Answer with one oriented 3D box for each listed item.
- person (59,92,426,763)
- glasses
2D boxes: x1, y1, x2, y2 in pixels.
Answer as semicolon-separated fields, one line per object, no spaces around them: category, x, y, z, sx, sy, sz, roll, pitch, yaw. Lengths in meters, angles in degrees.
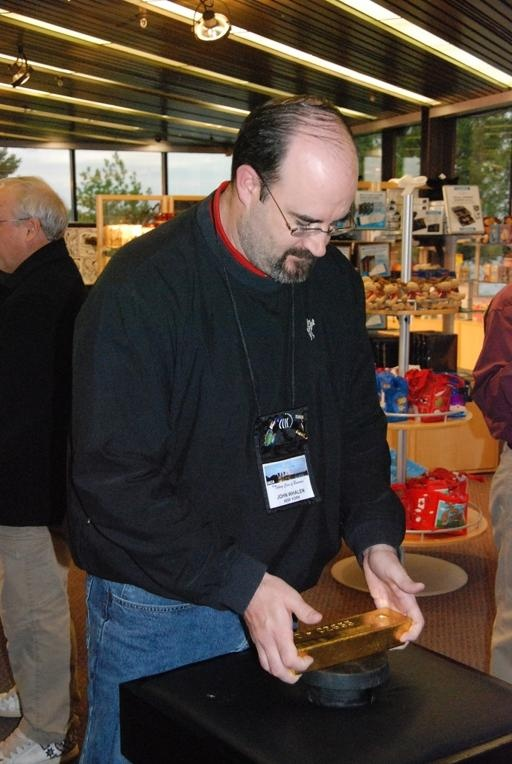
person;0.024;-0.011;0.931;0.610;0.806;0.399;-2;-7;-21
glasses;0.081;-0.262;0.899;0.148;0.098;0.049;-1;-8;-33
